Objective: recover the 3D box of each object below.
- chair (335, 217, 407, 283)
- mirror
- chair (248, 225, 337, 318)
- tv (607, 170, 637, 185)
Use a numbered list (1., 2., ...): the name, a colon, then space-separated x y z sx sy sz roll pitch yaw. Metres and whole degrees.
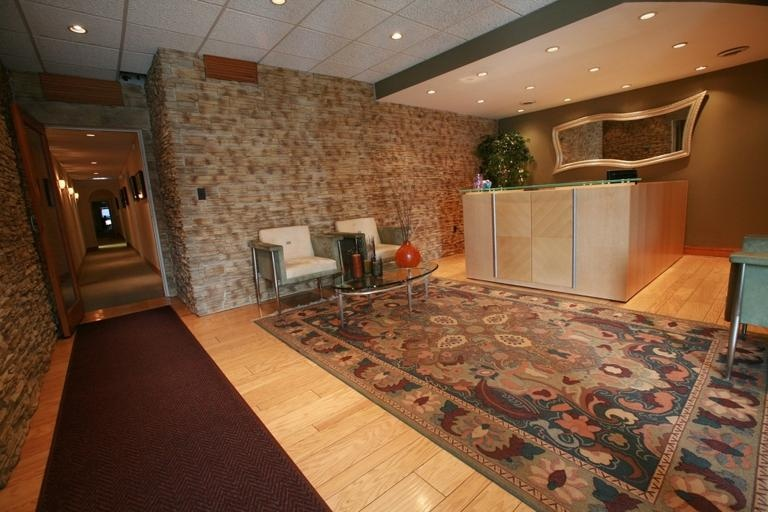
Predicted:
1. chair: -0.252 -0.175 6.758 1.082 0.738 1.043 5 18 36
2. mirror: 4.352 -2.171 7.694 2.326 1.138 0.129 5 15 43
3. chair: -1.238 0.085 6.019 1.087 0.821 0.840 -15 21 -35
4. tv: 3.241 -1.102 5.791 0.350 0.218 1.738 1 8 28
